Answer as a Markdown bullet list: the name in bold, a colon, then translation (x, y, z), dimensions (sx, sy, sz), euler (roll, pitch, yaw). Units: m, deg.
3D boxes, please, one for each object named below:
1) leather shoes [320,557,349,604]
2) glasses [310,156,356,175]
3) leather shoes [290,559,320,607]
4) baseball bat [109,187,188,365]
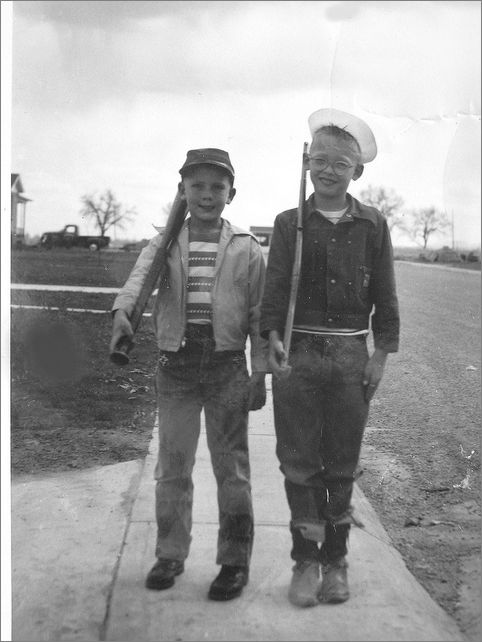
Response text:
- **leather shoes**: translation (0.267, 0.734, 1.538), dimensions (0.084, 0.063, 0.134), euler (3, 10, 11)
- **glasses**: translation (0.264, -0.450, 1.572), dimensions (0.122, 0.052, 0.039), euler (4, 9, 13)
- **leather shoes**: translation (0.183, 0.729, 1.542), dimensions (0.085, 0.084, 0.190), euler (3, 10, 10)
- **baseball bat**: translation (-0.227, -0.243, 1.636), dimensions (0.106, 0.888, 0.105), euler (28, -35, -30)
